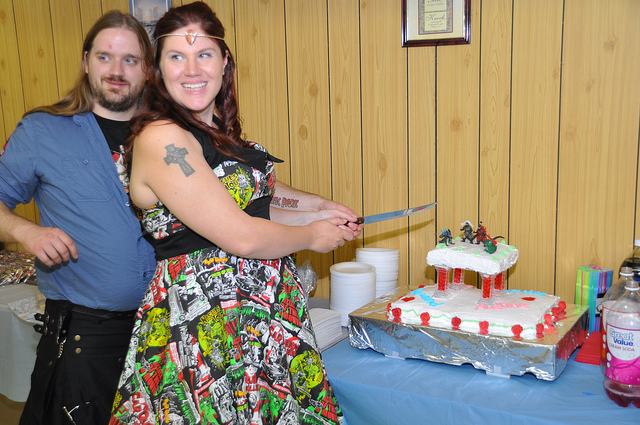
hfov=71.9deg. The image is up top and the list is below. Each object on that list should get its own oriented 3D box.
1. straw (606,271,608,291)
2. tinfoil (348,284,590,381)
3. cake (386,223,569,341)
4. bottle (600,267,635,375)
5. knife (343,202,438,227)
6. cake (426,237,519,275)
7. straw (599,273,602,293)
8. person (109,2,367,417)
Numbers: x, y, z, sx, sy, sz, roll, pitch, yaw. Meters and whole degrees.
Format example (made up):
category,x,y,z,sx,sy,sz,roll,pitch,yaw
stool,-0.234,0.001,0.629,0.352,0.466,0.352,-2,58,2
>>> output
category,x,y,z,sx,sy,sz,roll,pitch,yaw
straw,1.422,0.337,2.190,0.014,0.093,0.004,1,-4,-21
tinfoil,0.693,0.593,2.219,0.947,0.201,0.703,-1,-1,31
cake,0.719,0.280,2.040,0.725,0.414,0.543,2,11,31
bottle,1.201,0.445,1.781,0.154,0.430,0.130,0,5,9
knife,0.412,0.008,2.413,0.577,0.071,0.050,-7,-24,-2
cake,0.732,0.201,2.121,0.370,0.144,0.259,2,12,30
straw,1.392,0.345,2.194,0.011,0.092,0.004,1,-3,-14
person,-0.352,0.026,1.553,0.860,1.498,0.448,-9,11,-26
